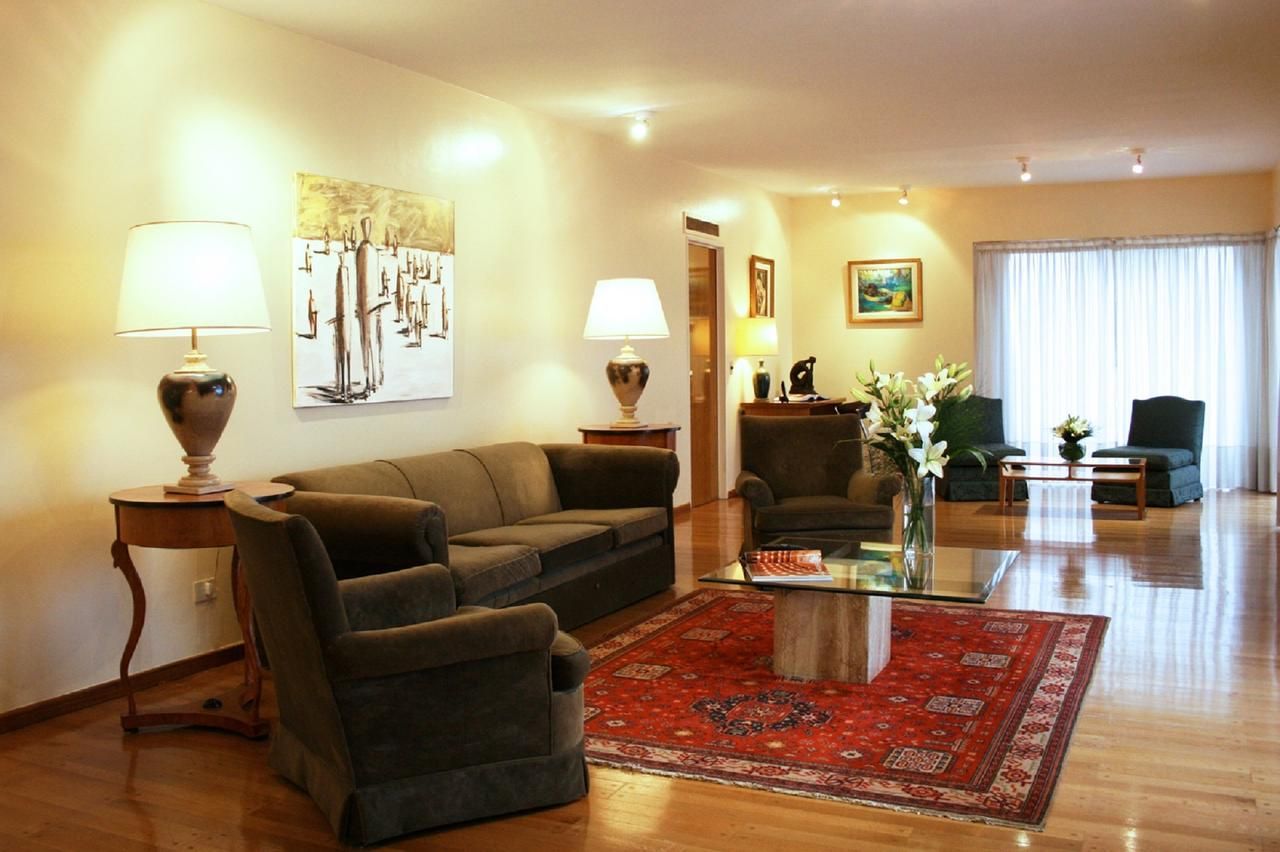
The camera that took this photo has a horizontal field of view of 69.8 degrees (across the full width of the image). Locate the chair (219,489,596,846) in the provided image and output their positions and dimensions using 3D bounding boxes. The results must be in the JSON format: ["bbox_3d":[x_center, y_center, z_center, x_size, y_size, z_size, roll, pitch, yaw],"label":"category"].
[{"bbox_3d":[-0.944,0.944,4.058,1.496,1.511,1.398,-1,3,-34],"label":"chair"}]

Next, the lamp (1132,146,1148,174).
[{"bbox_3d":[5.047,-2.712,9.244,0.164,0.245,0.162,4,0,19],"label":"lamp"}]

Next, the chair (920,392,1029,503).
[{"bbox_3d":[3.646,0.219,9.867,0.902,1.067,0.943,-4,6,1],"label":"chair"}]

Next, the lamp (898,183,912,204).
[{"bbox_3d":[3.179,-2.787,10.977,0.174,0.164,0.172,1,-1,-25],"label":"lamp"}]

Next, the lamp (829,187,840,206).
[{"bbox_3d":[2.419,-2.820,11.244,0.154,0.289,0.151,2,0,13],"label":"lamp"}]

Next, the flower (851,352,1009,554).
[{"bbox_3d":[1.529,0.170,5.045,0.613,1.046,0.387,-1,7,10],"label":"flower"}]

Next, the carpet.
[{"bbox_3d":[0.979,1.333,5.078,2.722,0.041,3.058,-1,3,30],"label":"carpet"}]

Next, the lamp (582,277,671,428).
[{"bbox_3d":[-0.119,-0.610,7.423,0.606,1.168,1.145,-2,6,-3],"label":"lamp"}]

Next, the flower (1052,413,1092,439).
[{"bbox_3d":[4.273,0.008,9.012,0.281,0.170,0.279,-3,0,16],"label":"flower"}]

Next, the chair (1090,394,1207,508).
[{"bbox_3d":[5.300,0.246,9.485,1.095,1.010,0.826,-7,9,-36],"label":"chair"}]

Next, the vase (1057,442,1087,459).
[{"bbox_3d":[4.273,0.244,9.025,0.175,0.119,0.181,-3,-5,45],"label":"vase"}]

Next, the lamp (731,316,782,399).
[{"bbox_3d":[1.335,-0.780,10.530,0.471,0.920,0.820,-1,7,10],"label":"lamp"}]
